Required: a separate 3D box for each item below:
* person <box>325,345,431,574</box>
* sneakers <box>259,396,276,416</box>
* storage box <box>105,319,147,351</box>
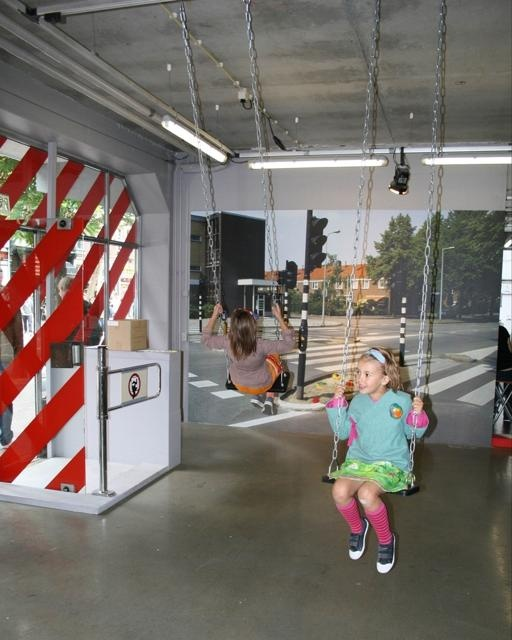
[{"bbox_3d":[0.632,0.806,2.940,0.554,1.255,0.499,2,0,-42],"label":"person"},{"bbox_3d":[0.164,1.072,6.563,0.144,0.140,0.322,0,-2,5],"label":"sneakers"},{"bbox_3d":[-1.289,0.132,5.116,0.343,0.321,0.309,-1,6,-1],"label":"storage box"}]
